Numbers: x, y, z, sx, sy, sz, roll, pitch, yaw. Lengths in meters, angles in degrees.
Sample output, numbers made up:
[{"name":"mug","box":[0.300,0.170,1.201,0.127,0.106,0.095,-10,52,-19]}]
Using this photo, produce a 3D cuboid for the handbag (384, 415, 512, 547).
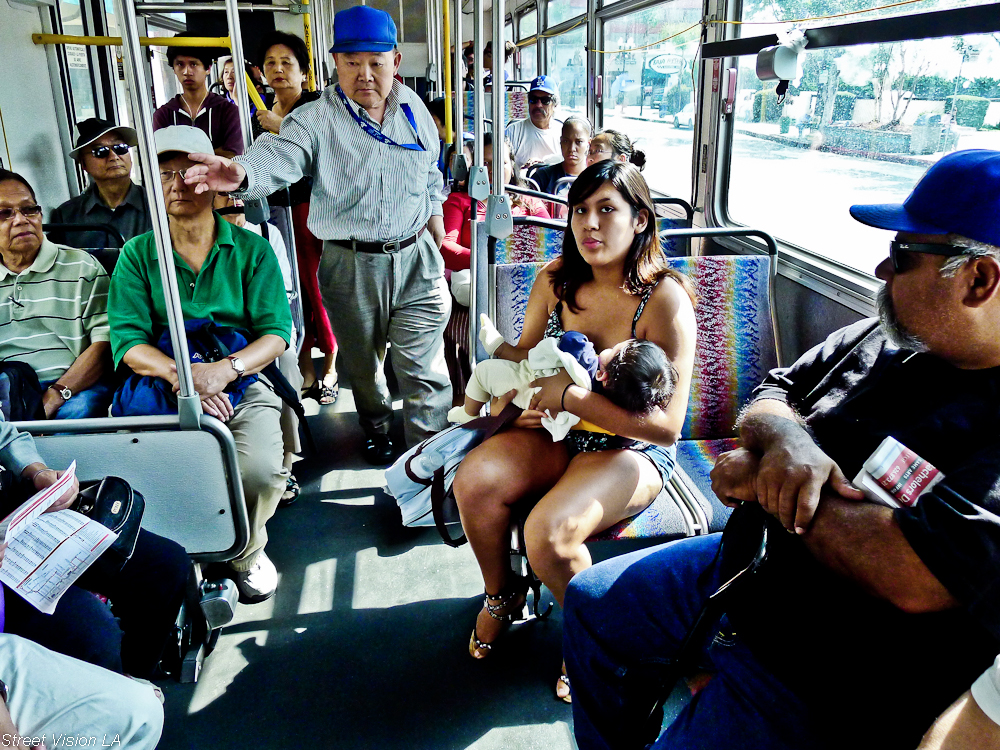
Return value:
[{"name":"handbag","box":[-0.251,0.361,2.585,0.187,0.463,0.463,42,26,-18]}]

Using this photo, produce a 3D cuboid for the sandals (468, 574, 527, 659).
[{"name":"sandals","box":[0.001,0.859,2.559,0.099,0.302,0.129,40,22,31]}]

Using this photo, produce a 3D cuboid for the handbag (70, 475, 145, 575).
[{"name":"handbag","box":[-1.098,0.424,2.144,0.184,0.095,0.266,25,62,11]}]

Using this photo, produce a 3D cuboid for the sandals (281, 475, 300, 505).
[{"name":"sandals","box":[-1.012,0.524,3.521,0.119,0.066,0.184,-4,46,-14]}]
